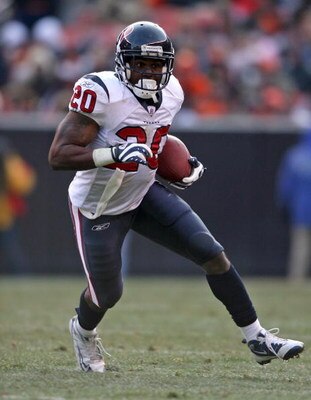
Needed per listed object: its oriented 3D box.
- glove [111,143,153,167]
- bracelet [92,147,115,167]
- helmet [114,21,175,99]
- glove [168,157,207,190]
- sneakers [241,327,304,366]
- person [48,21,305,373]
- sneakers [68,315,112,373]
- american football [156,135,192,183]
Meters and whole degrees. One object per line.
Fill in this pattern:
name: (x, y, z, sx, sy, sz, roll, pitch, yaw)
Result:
glove: (-0.096, -0.176, 1.877, 0.150, 0.081, 0.106, 0, 22, 7)
bracelet: (-0.201, -0.163, 1.864, 0.099, 0.051, 0.086, 4, 9, -14)
helmet: (-0.047, -0.593, 2.112, 0.249, 0.332, 0.319, -3, 23, 1)
glove: (0.190, -0.156, 2.495, 0.215, 0.143, 0.085, -29, 72, -14)
sneakers: (0.495, 0.631, 2.127, 0.331, 0.145, 0.115, -13, 19, 28)
person: (-0.055, -0.016, 2.145, 0.832, 1.452, 0.855, -9, 25, -11)
sneakers: (-0.285, 0.630, 2.167, 0.119, 0.115, 0.268, -19, 68, -32)
american football: (0.087, -0.195, 2.437, 0.179, 0.176, 0.229, -22, 56, -3)
